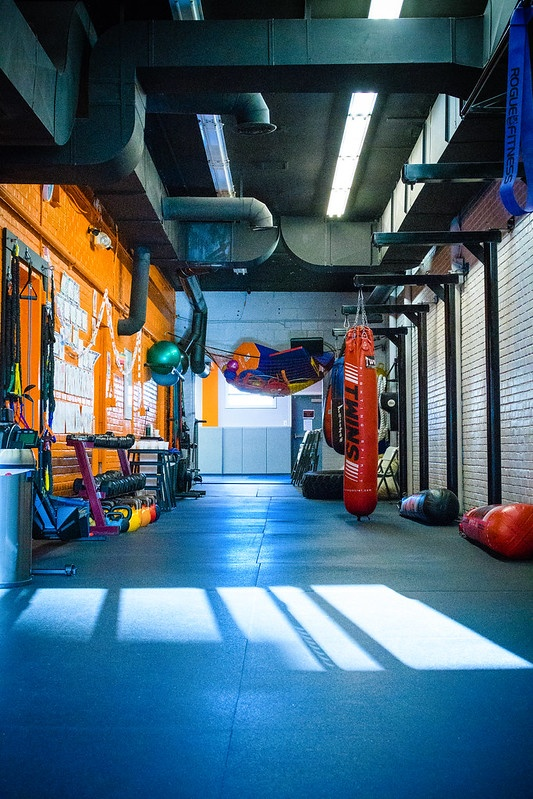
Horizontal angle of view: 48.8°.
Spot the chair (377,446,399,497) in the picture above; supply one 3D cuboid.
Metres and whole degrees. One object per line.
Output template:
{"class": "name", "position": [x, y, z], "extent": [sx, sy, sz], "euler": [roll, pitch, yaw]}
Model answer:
{"class": "chair", "position": [2.100, 1.275, 10.092], "extent": [0.341, 0.803, 0.849], "euler": [-1, -2, 12]}

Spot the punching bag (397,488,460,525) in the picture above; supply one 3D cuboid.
{"class": "punching bag", "position": [1.798, 1.196, 6.652], "extent": [0.242, 0.297, 0.900], "euler": [-7, -1, -7]}
